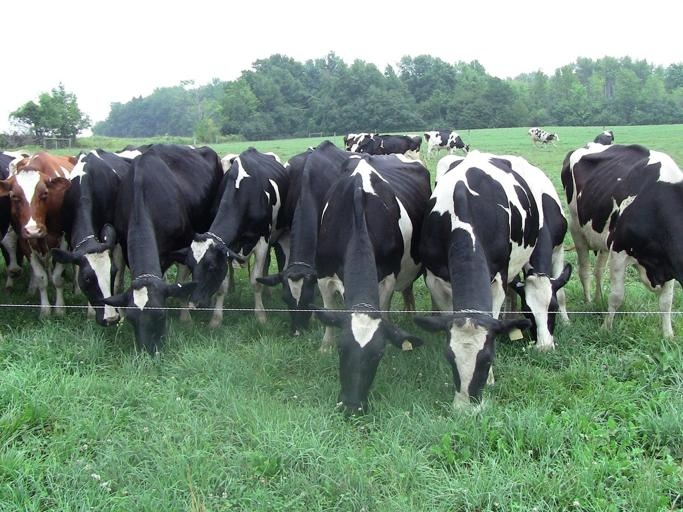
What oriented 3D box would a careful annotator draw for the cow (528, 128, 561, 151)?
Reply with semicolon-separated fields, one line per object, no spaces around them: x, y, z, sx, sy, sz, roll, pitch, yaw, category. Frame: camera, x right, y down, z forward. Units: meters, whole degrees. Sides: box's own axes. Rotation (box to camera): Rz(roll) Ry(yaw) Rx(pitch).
10.874;-6.325;33.482;1.306;1.233;3.420;1;6;18;cow

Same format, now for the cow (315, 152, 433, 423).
0.449;0.078;8.172;1.360;2.874;3.157;0;6;8;cow

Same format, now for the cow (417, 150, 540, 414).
1.695;0.105;7.744;1.265;2.759;2.558;1;6;17;cow

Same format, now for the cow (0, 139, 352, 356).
-2.872;-0.378;9.624;3.173;2.752;3.152;3;7;34;cow
